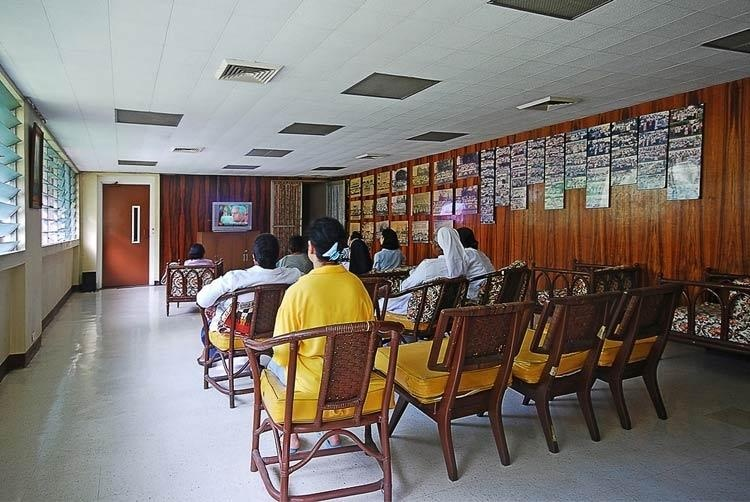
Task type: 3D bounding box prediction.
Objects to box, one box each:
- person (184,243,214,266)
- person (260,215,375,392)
[{"bbox_3d":[-3.138,0.106,8.432,0.442,0.350,0.705,0,12,-12],"label":"person"},{"bbox_3d":[-0.376,0.376,3.338,0.742,1.195,0.497,-4,6,-13],"label":"person"}]
